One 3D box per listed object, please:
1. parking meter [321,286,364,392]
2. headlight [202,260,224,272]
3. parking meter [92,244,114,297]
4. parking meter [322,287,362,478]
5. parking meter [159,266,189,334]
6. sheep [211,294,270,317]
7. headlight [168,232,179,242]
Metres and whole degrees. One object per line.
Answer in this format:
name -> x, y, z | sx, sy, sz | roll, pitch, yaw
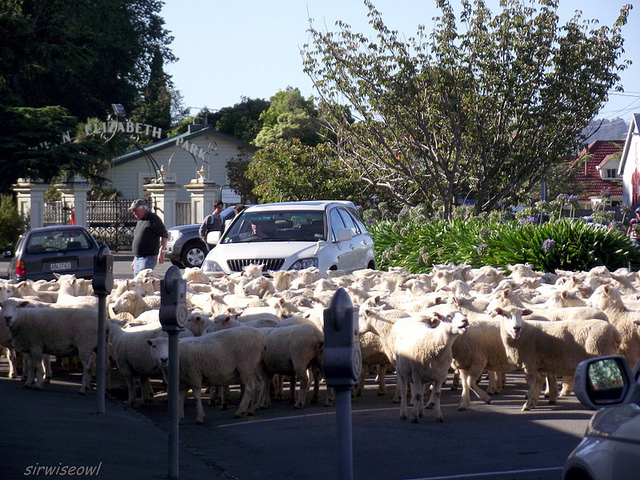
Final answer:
parking meter -> 0.242, 1.134, 11.387 | 0.414, 1.177, 0.276 | 0, -4, 0
headlight -> -2.339, 0.571, 21.755 | 0.266, 0.271, 0.683 | 3, -5, -32
parking meter -> -3.193, 0.608, 15.051 | 0.340, 1.054, 0.348 | 1, 3, -23
parking meter -> 0.235, 1.620, 11.415 | 0.396, 2.143, 0.392 | 0, -4, 11
parking meter -> -1.884, 0.787, 13.137 | 0.347, 0.882, 0.393 | 1, -4, -10
sheep -> -1.407, 1.141, 17.985 | 0.978, 0.569, 0.421 | 4, -6, 4
headlight -> -5.039, -0.066, 34.891 | 0.525, 0.336, 0.157 | -3, -5, 44
